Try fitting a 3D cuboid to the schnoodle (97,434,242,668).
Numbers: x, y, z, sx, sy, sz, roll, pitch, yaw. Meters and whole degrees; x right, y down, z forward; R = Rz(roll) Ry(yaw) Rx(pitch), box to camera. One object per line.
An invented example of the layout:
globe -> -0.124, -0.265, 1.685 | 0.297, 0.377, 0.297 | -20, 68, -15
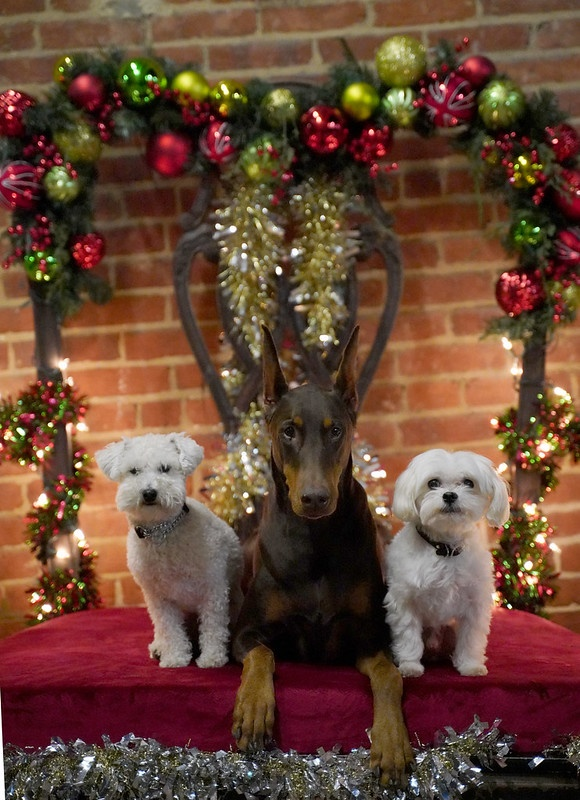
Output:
schnoodle -> -0.302, 0.400, 2.681 | 0.362, 0.569, 0.642 | -7, -9, 5
